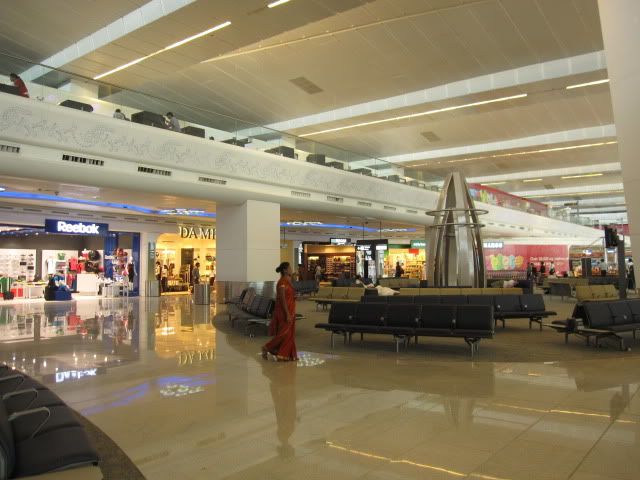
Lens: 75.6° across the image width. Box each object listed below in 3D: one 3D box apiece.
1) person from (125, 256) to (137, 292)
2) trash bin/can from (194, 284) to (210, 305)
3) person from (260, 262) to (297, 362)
[{"bbox_3d":[-10.252,1.858,22.395,0.560,1.767,0.182,-3,-3,24],"label":"person"},{"bbox_3d":[-5.055,2.321,17.749,0.883,0.860,0.418,-3,-3,39],"label":"trash bin/can"},{"bbox_3d":[-0.783,1.339,7.818,0.630,1.839,1.080,-2,-2,-6],"label":"person"}]
